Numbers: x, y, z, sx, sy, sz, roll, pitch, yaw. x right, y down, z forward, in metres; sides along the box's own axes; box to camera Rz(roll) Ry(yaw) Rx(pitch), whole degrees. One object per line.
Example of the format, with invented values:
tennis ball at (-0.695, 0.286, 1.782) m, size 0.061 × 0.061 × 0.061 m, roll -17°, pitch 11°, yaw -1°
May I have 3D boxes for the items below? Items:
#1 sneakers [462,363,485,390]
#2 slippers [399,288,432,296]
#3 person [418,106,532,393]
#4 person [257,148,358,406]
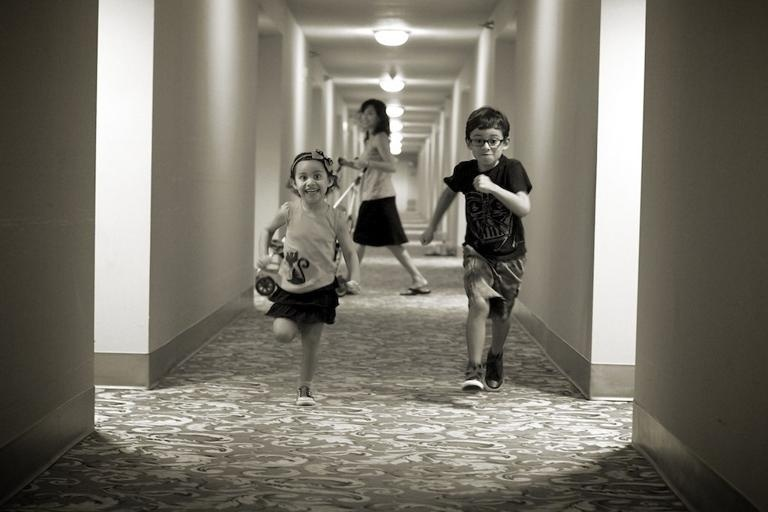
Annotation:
sneakers at (0.545, 0.729, 3.674) m, size 0.113 × 0.147 × 0.225 m, roll 6°, pitch 13°, yaw 8°
slippers at (0.413, 0.471, 7.754) m, size 0.375 × 0.098 × 0.136 m, roll 2°, pitch -1°, yaw -8°
person at (0.632, -0.014, 3.849) m, size 0.578 × 1.804 × 0.833 m, roll 2°, pitch 13°, yaw -10°
person at (-0.450, 0.166, 3.597) m, size 0.587 × 1.535 × 0.481 m, roll 3°, pitch 12°, yaw -3°
